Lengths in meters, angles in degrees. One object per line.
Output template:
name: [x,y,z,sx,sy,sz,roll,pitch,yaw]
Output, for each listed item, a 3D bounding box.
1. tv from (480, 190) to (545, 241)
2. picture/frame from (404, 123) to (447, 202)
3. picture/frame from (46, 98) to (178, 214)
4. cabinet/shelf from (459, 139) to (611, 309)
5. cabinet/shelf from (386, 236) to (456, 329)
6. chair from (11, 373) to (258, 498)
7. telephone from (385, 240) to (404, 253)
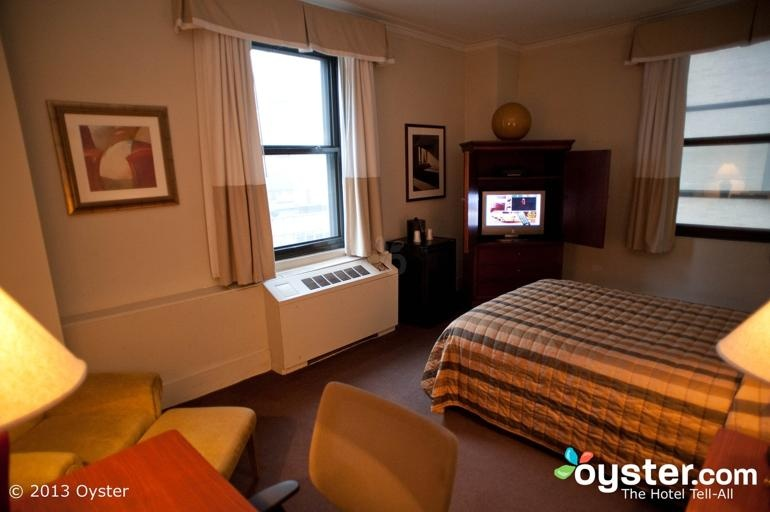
tv: [1.529,-0.498,6.095,0.604,0.442,0.156,0,14,0]
picture/frame: [0.463,-1.163,6.180,0.850,1.098,0.074,-14,19,-41]
picture/frame: [-2.239,-0.817,4.109,0.876,0.872,0.069,-13,20,-32]
cabinet/shelf: [1.664,-0.345,6.059,1.439,1.898,1.066,0,0,17]
cabinet/shelf: [0.402,0.228,5.990,0.794,0.841,0.776,-1,13,-7]
chair: [-1.651,1.181,3.464,1.115,0.689,0.826,3,20,10]
telephone: [0.107,-0.112,5.769,0.153,0.148,0.037,22,4,14]
